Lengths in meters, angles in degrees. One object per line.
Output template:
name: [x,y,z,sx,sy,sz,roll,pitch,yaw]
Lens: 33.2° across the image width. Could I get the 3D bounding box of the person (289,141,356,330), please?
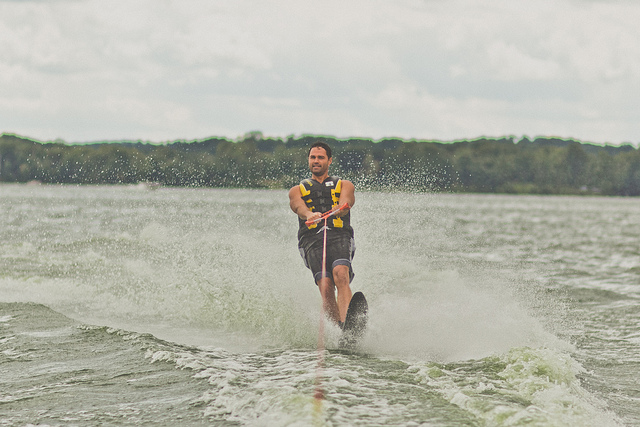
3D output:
person: [0.181,0.400,22.577,0.924,3.823,1.601,-1,7,-39]
